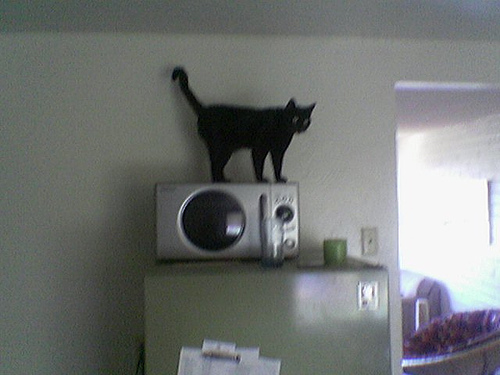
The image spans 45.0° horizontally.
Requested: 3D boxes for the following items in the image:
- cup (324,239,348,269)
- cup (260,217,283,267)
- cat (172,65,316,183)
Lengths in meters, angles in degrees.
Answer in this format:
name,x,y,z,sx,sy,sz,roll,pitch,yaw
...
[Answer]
name,x,y,z,sx,sy,sz,roll,pitch,yaw
cup,0.311,0.225,2.090,0.059,0.096,0.086,-1,-16,41
cup,0.062,0.174,2.031,0.092,0.219,0.127,-3,-4,1
cat,0.036,-0.213,2.070,0.562,0.538,0.211,-3,-1,2
